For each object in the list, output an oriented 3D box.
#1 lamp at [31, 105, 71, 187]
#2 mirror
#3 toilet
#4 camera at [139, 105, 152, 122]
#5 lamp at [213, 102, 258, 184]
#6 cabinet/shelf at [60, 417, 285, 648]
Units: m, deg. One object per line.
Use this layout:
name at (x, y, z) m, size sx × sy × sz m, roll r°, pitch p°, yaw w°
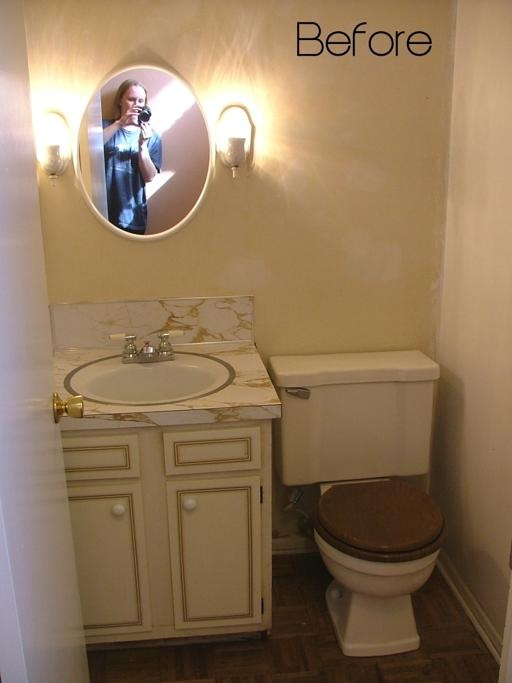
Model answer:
lamp at (-0.562, -0.551, 1.630) m, size 0.094 × 0.187 × 0.064 m, roll -5°, pitch 15°, yaw -16°
mirror at (-0.318, -0.553, 1.725) m, size 0.421 × 0.023 × 0.611 m, roll 4°, pitch 54°, yaw -7°
toilet at (0.310, 0.479, 1.732) m, size 0.455 × 0.753 × 0.623 m, roll -1°, pitch 16°, yaw -1°
camera at (-0.313, -0.644, 1.656) m, size 0.033 × 0.032 × 0.044 m, roll -13°, pitch 54°, yaw 12°
lamp at (-0.056, -0.581, 1.683) m, size 0.118 × 0.205 × 0.086 m, roll -2°, pitch 14°, yaw -4°
cabinet/shelf at (-0.251, 0.498, 1.644) m, size 0.605 × 0.659 × 0.362 m, roll -2°, pitch 12°, yaw 1°
